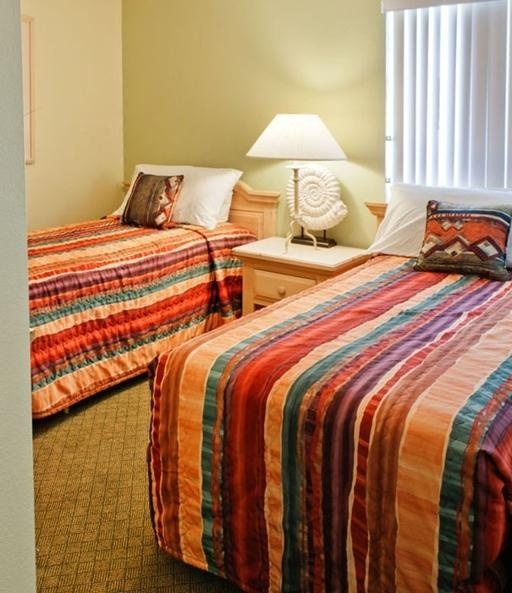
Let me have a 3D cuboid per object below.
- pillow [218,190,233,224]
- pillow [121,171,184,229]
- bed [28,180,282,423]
[{"bbox_3d":[-0.206,-0.669,3.645,0.063,0.208,0.193,12,-4,17],"label":"pillow"},{"bbox_3d":[-0.691,-0.654,3.471,0.422,0.410,0.132,10,-9,38],"label":"pillow"},{"bbox_3d":[-0.923,-0.254,3.354,1.323,1.056,1.938,23,27,34],"label":"bed"}]
